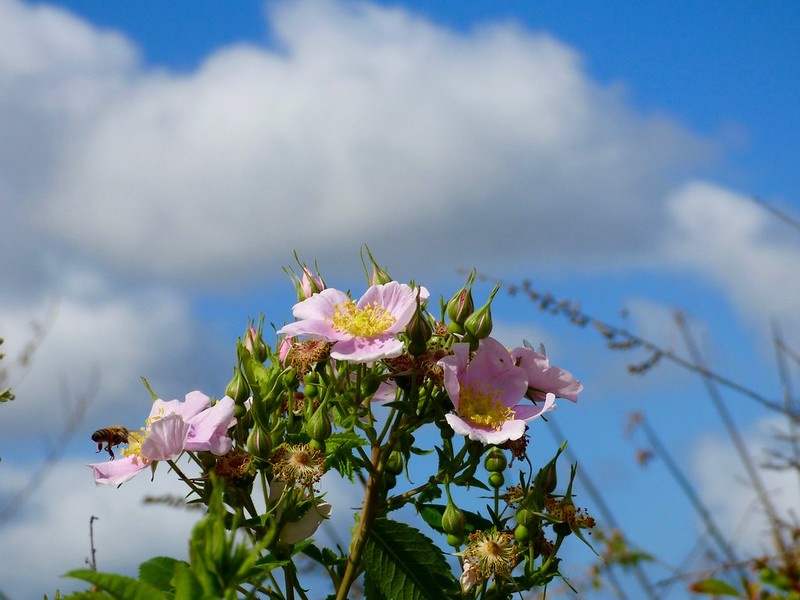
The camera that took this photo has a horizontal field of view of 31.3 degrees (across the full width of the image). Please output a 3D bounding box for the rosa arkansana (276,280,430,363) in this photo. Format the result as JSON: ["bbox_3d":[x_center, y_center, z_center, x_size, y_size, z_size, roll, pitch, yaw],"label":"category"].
[{"bbox_3d":[-0.218,0.117,6.545,0.628,0.482,0.345,-5,-26,2],"label":"rosa arkansana"}]

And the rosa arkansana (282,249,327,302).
[{"bbox_3d":[-0.447,-0.069,6.942,0.208,0.288,0.227,-3,-18,-7],"label":"rosa arkansana"}]

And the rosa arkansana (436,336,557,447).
[{"bbox_3d":[0.419,0.487,6.413,0.489,0.594,0.261,7,-57,-5],"label":"rosa arkansana"}]

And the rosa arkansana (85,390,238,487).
[{"bbox_3d":[-1.113,0.632,6.653,0.675,0.428,0.417,-2,-26,-4],"label":"rosa arkansana"}]

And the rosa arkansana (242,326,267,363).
[{"bbox_3d":[-0.707,0.222,6.992,0.086,0.112,0.256,0,-34,16],"label":"rosa arkansana"}]

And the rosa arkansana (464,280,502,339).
[{"bbox_3d":[0.387,0.075,6.572,0.121,0.257,0.106,20,9,-12],"label":"rosa arkansana"}]
